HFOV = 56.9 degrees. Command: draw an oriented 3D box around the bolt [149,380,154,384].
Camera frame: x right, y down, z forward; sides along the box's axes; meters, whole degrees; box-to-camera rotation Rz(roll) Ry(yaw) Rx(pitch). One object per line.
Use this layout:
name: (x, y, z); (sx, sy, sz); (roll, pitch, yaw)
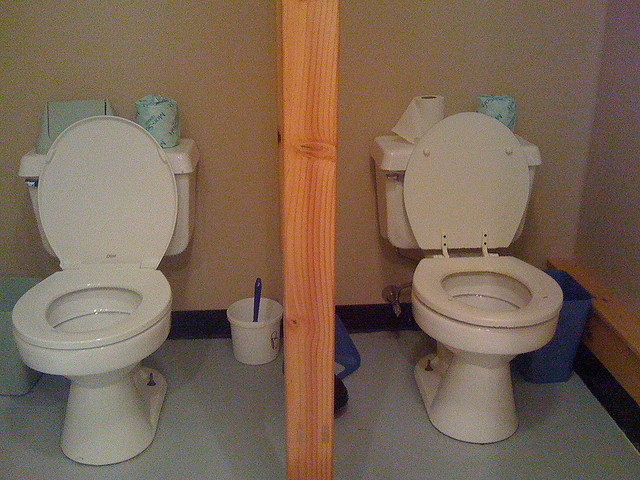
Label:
bolt: (-0.595, 0.500, 2.074); (0.012, 0.004, 0.015); (2, 1, -5)

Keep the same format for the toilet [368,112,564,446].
toilet: (0.470, 0.097, 1.986); (0.623, 0.980, 0.658); (3, 25, 3)

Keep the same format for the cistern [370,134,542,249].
cistern: (0.447, -0.188, 2.211); (0.600, 0.337, 0.379); (-2, 30, -1)

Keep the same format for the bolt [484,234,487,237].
bolt: (0.588, -0.015, 2.083); (0.011, 0.009, 0.002); (-20, 8, 5)

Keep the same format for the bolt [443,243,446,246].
bolt: (0.441, 0.017, 2.077); (0.008, 0.007, 0.002); (3, -8, -1)

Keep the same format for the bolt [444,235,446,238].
bolt: (0.441, -0.012, 2.070); (0.006, 0.010, 0.005); (4, 45, 4)

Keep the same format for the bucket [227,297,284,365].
bucket: (-0.237, 0.359, 2.328); (0.291, 0.200, 0.271); (1, 23, 0)

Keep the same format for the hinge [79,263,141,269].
hinge: (-0.707, 0.086, 1.948); (0.119, 0.007, 0.017); (0, 45, -6)

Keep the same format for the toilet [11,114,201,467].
toilet: (-0.669, 0.130, 1.905); (0.577, 0.988, 0.662); (-3, 25, -11)

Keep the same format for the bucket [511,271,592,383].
bucket: (0.783, 0.306, 1.987); (0.236, 0.351, 0.288); (-2, 32, -1)

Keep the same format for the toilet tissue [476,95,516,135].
toilet tissue: (0.636, -0.459, 2.149); (0.143, 0.129, 0.133); (-6, 29, -3)

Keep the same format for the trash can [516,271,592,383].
trash can: (0.792, 0.309, 1.993); (0.235, 0.357, 0.299); (1, 27, -1)

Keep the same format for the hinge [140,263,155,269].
hinge: (-0.578, 0.087, 1.972); (0.033, 0.019, 0.007); (0, -22, -6)
